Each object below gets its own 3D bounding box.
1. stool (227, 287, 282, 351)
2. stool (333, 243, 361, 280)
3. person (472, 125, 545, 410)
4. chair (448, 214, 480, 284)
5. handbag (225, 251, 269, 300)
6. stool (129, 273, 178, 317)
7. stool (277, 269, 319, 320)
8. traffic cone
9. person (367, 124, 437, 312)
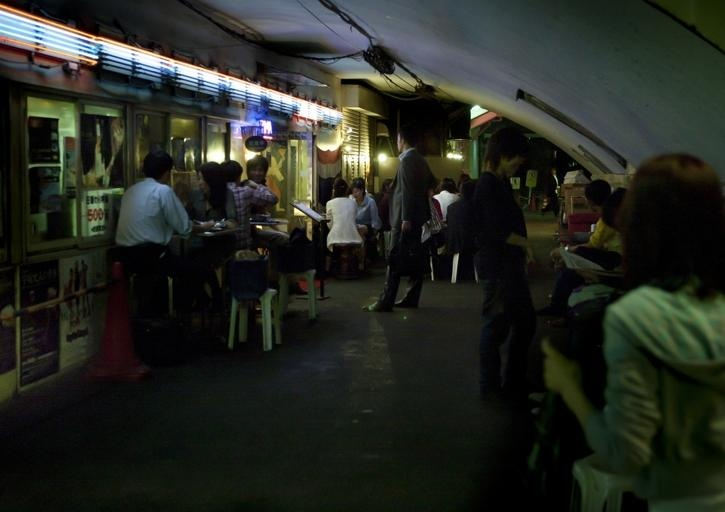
[{"bbox_3d":[-1.374,0.839,7.458,0.747,0.935,0.750,-1,-8,6],"label":"stool"},{"bbox_3d":[-0.308,0.118,12.869,0.721,0.727,0.778,1,4,9],"label":"stool"},{"bbox_3d":[1.386,0.076,5.517,0.601,2.634,0.598,2,6,16],"label":"person"},{"bbox_3d":[2.063,-0.143,10.667,0.762,1.173,0.821,-4,1,20],"label":"chair"},{"bbox_3d":[-1.479,0.263,7.225,0.517,0.429,0.534,-2,5,2],"label":"handbag"},{"bbox_3d":[-2.640,0.545,7.510,0.517,0.566,0.492,2,-7,-28],"label":"stool"},{"bbox_3d":[-0.994,0.548,8.715,0.777,0.635,0.775,-4,5,-34],"label":"stool"},{"bbox_3d":[-2.656,0.710,6.185,0.654,1.219,0.453,0,6,5],"label":"traffic cone"},{"bbox_3d":[0.681,-0.619,9.509,0.978,3.021,1.082,-2,-3,27],"label":"person"}]
